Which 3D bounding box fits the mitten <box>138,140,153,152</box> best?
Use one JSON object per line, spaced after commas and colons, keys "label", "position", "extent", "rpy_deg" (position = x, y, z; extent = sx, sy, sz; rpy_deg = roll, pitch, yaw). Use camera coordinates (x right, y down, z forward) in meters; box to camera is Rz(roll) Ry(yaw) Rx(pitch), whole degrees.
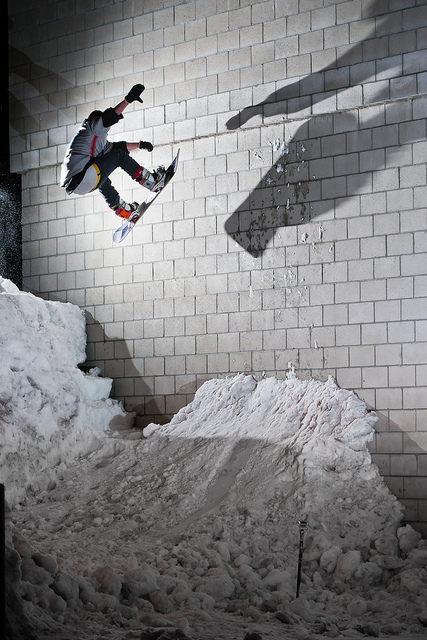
{"label": "mitten", "position": [-0.712, -1.820, 7.758], "extent": [0.129, 0.108, 0.065], "rpy_deg": [3, -12, -15]}

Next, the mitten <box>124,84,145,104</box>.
{"label": "mitten", "position": [-0.794, -2.291, 7.512], "extent": [0.162, 0.207, 0.370], "rpy_deg": [9, -2, -5]}

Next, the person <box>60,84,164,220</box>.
{"label": "person", "position": [-1.003, -1.677, 7.931], "extent": [1.222, 1.125, 1.225], "rpy_deg": [-14, 7, 20]}
